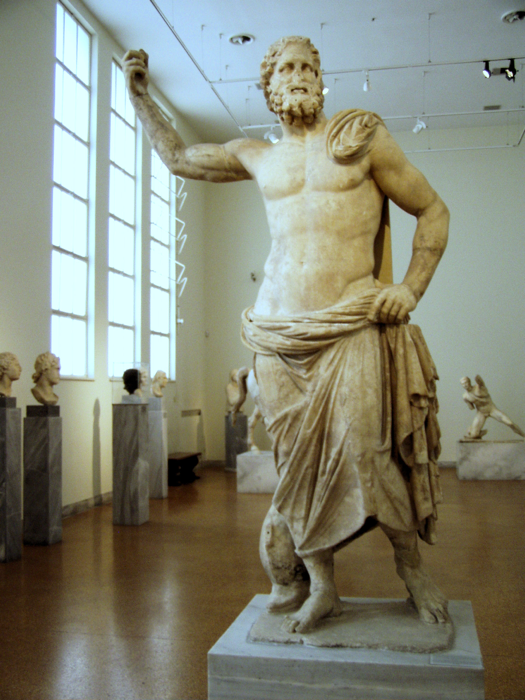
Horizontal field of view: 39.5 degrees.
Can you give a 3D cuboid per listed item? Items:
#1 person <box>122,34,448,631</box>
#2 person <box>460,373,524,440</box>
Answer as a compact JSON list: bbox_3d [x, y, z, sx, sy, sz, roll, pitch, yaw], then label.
[{"bbox_3d":[0.121,-0.097,2.370,0.882,1.839,0.458,-2,-4,27],"label":"person"},{"bbox_3d":[3.496,0.812,10.948,0.471,0.908,0.701,6,-20,-37],"label":"person"}]
